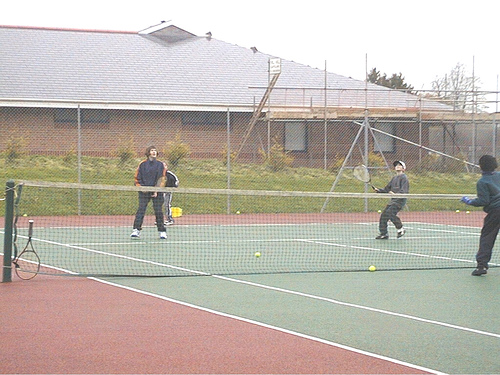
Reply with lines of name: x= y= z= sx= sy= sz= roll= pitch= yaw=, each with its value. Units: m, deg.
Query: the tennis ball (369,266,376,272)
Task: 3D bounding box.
tennis ball: x=1.987 y=1.304 z=10.463 sx=0.076 sy=0.050 sz=0.072 roll=1 pitch=2 yaw=0

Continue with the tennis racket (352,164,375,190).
tennis racket: x=3.429 y=-0.293 z=19.346 sx=0.224 sy=0.416 sz=1.209 roll=39 pitch=17 yaw=-30

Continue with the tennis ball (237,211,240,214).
tennis ball: x=-0.341 y=0.762 z=19.538 sx=0.141 sy=0.069 sz=0.132 roll=1 pitch=-3 yaw=0
